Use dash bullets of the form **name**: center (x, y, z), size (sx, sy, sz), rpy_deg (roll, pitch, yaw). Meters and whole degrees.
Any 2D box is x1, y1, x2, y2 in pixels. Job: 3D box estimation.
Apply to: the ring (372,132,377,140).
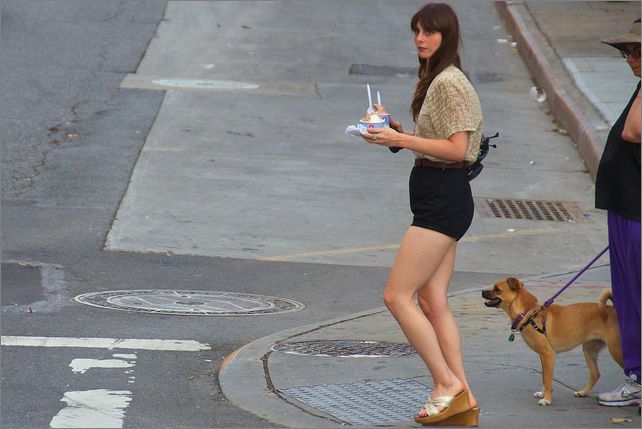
- **ring**: center (0.583, -0.861, 13.120), size (0.054, 0.074, 0.035), rpy_deg (3, 35, 16)
